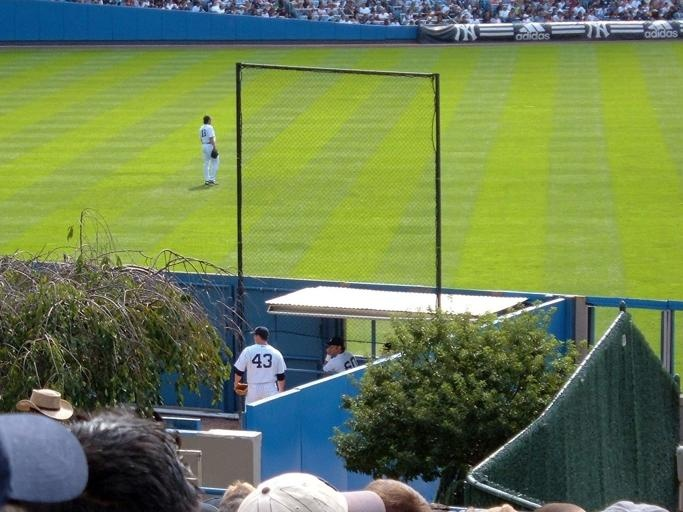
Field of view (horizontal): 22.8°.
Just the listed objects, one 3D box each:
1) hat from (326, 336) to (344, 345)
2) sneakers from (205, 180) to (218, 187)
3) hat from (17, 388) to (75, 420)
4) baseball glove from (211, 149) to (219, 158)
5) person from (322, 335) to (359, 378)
[{"bbox_3d":[-0.120,1.621,32.662,0.233,0.110,0.158,2,2,2],"label":"hat"},{"bbox_3d":[-3.387,-1.918,44.229,0.325,0.126,0.113,-3,15,-20],"label":"sneakers"},{"bbox_3d":[-4.825,2.431,27.925,0.670,0.230,0.574,10,9,18],"label":"hat"},{"bbox_3d":[-3.214,-2.603,42.929,0.183,0.202,0.149,2,47,-7],"label":"baseball glove"},{"bbox_3d":[-0.026,1.933,32.749,0.591,0.758,0.892,-1,2,-24],"label":"person"}]
